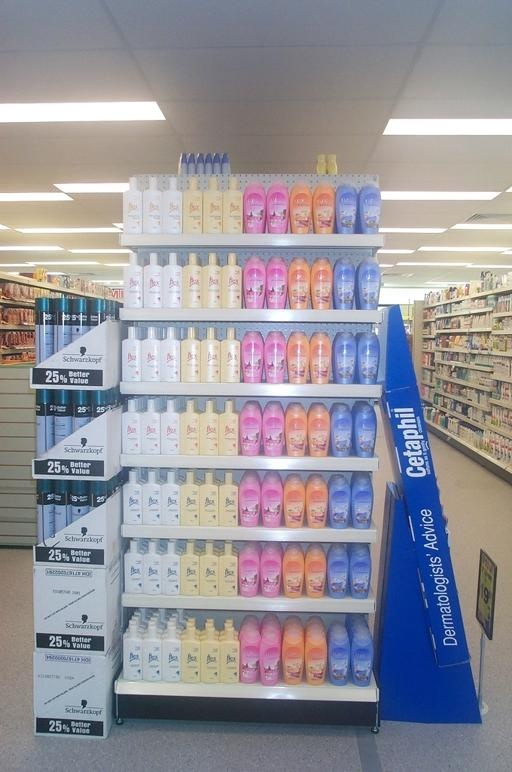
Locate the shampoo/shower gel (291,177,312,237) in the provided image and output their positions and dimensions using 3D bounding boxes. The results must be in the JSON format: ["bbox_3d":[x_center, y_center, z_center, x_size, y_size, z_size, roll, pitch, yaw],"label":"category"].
[{"bbox_3d":[0.197,-0.768,3.071,0.121,0.274,0.078,0,-7,9],"label":"shampoo/shower gel"}]

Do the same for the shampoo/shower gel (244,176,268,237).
[{"bbox_3d":[-0.004,-0.770,3.045,0.108,0.219,0.103,0,7,-10],"label":"shampoo/shower gel"}]

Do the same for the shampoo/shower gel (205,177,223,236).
[{"bbox_3d":[-0.184,-0.781,3.031,0.075,0.244,0.092,-4,9,-37],"label":"shampoo/shower gel"}]

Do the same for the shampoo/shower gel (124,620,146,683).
[{"bbox_3d":[-0.533,1.153,3.050,0.094,0.247,0.065,1,5,-7],"label":"shampoo/shower gel"}]

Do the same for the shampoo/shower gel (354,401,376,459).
[{"bbox_3d":[0.466,0.191,3.022,0.076,0.157,0.208,-1,13,3],"label":"shampoo/shower gel"}]

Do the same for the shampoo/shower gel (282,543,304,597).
[{"bbox_3d":[0.160,0.807,3.066,0.099,0.210,0.124,1,7,3],"label":"shampoo/shower gel"}]

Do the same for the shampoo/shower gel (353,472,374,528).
[{"bbox_3d":[0.460,0.499,3.067,0.095,0.233,0.141,2,7,7],"label":"shampoo/shower gel"}]

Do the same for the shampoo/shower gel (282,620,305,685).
[{"bbox_3d":[0.158,1.156,3.011,0.086,0.264,0.189,1,-8,1],"label":"shampoo/shower gel"}]

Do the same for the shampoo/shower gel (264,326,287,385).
[{"bbox_3d":[0.083,-0.127,3.048,0.098,0.221,0.148,1,7,2],"label":"shampoo/shower gel"}]

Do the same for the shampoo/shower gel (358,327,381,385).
[{"bbox_3d":[0.482,-0.114,3.030,0.086,0.260,0.064,2,-18,6],"label":"shampoo/shower gel"}]

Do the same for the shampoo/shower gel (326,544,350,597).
[{"bbox_3d":[0.358,0.800,3.074,0.095,0.218,0.138,2,7,8],"label":"shampoo/shower gel"}]

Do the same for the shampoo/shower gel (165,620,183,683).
[{"bbox_3d":[-0.368,1.144,3.056,0.076,0.248,0.121,0,7,-9],"label":"shampoo/shower gel"}]

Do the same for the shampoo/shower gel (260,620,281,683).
[{"bbox_3d":[0.054,1.167,3.035,0.110,0.261,0.104,2,16,-8],"label":"shampoo/shower gel"}]

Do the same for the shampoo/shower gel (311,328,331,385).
[{"bbox_3d":[0.278,-0.124,3.043,0.089,0.219,0.069,1,7,2],"label":"shampoo/shower gel"}]

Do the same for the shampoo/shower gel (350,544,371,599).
[{"bbox_3d":[0.444,0.798,3.013,0.098,0.274,0.199,2,-5,5],"label":"shampoo/shower gel"}]

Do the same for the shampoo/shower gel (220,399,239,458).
[{"bbox_3d":[-0.126,0.178,3.076,0.095,0.255,0.090,-2,15,-8],"label":"shampoo/shower gel"}]

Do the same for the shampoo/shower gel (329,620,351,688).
[{"bbox_3d":[0.358,1.161,3.011,0.096,0.216,0.061,0,-1,-1],"label":"shampoo/shower gel"}]

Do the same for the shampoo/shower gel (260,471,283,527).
[{"bbox_3d":[0.069,0.498,3.058,0.096,0.222,0.099,1,7,1],"label":"shampoo/shower gel"}]

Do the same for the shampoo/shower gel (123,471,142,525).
[{"bbox_3d":[-0.541,0.485,3.119,0.106,0.250,0.096,-3,11,-15],"label":"shampoo/shower gel"}]

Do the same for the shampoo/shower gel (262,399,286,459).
[{"bbox_3d":[0.079,0.181,3.079,0.117,0.261,0.115,7,25,20],"label":"shampoo/shower gel"}]

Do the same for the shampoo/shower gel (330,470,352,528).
[{"bbox_3d":[0.361,0.504,3.055,0.102,0.215,0.106,2,7,8],"label":"shampoo/shower gel"}]

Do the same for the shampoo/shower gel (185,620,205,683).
[{"bbox_3d":[-0.283,1.145,3.051,0.079,0.247,0.119,0,7,-5],"label":"shampoo/shower gel"}]

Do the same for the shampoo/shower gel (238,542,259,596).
[{"bbox_3d":[-0.034,0.807,3.064,0.094,0.213,0.107,1,7,0],"label":"shampoo/shower gel"}]

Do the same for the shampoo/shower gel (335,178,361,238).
[{"bbox_3d":[0.393,-0.765,3.042,0.103,0.214,0.140,2,7,7],"label":"shampoo/shower gel"}]

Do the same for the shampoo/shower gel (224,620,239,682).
[{"bbox_3d":[-0.111,1.150,3.040,0.079,0.247,0.095,1,7,0],"label":"shampoo/shower gel"}]

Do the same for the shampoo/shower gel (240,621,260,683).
[{"bbox_3d":[-0.034,1.166,3.047,0.109,0.257,0.100,5,14,0],"label":"shampoo/shower gel"}]

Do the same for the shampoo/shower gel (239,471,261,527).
[{"bbox_3d":[-0.030,0.498,3.068,0.101,0.220,0.099,1,7,-1],"label":"shampoo/shower gel"}]

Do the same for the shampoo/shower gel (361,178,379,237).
[{"bbox_3d":[0.484,-0.762,3.018,0.084,0.215,0.113,2,7,7],"label":"shampoo/shower gel"}]

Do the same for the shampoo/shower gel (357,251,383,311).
[{"bbox_3d":[0.505,-0.436,3.051,0.108,0.241,0.107,-1,-8,27],"label":"shampoo/shower gel"}]

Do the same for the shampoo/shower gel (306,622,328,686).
[{"bbox_3d":[0.261,1.138,3.028,0.107,0.065,0.234,-10,18,11],"label":"shampoo/shower gel"}]

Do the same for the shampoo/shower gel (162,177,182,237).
[{"bbox_3d":[-0.366,-0.787,3.063,0.089,0.253,0.144,1,7,4],"label":"shampoo/shower gel"}]

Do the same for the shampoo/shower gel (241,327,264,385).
[{"bbox_3d":[-0.014,-0.109,3.076,0.114,0.256,0.098,-2,-21,6],"label":"shampoo/shower gel"}]

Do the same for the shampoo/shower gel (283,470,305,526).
[{"bbox_3d":[0.165,0.503,3.075,0.096,0.210,0.138,1,7,3],"label":"shampoo/shower gel"}]

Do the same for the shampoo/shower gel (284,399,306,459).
[{"bbox_3d":[0.176,0.180,3.062,0.106,0.256,0.100,1,27,7],"label":"shampoo/shower gel"}]

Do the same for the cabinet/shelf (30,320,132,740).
[{"bbox_3d":[-0.779,0.600,3.023,0.394,1.762,0.401,0,7,-10],"label":"cabinet/shelf"}]

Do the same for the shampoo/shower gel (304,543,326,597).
[{"bbox_3d":[0.265,0.807,3.067,0.120,0.212,0.111,-1,7,-12],"label":"shampoo/shower gel"}]

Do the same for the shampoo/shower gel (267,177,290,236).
[{"bbox_3d":[0.088,-0.775,3.042,0.094,0.216,0.060,1,7,0],"label":"shampoo/shower gel"}]

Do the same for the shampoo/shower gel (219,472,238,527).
[{"bbox_3d":[-0.129,0.495,3.079,0.092,0.241,0.080,-2,7,-7],"label":"shampoo/shower gel"}]

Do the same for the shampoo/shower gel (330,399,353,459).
[{"bbox_3d":[0.366,0.194,3.030,0.111,0.312,0.230,2,1,3],"label":"shampoo/shower gel"}]

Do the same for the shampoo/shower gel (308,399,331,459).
[{"bbox_3d":[0.274,0.188,3.089,0.099,0.230,0.179,2,7,5],"label":"shampoo/shower gel"}]

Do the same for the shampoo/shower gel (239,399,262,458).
[{"bbox_3d":[-0.024,0.178,3.083,0.116,0.262,0.107,4,24,11],"label":"shampoo/shower gel"}]

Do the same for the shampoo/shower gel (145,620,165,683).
[{"bbox_3d":[-0.452,1.144,3.048,0.083,0.252,0.097,0,7,-11],"label":"shampoo/shower gel"}]

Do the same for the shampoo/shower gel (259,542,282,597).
[{"bbox_3d":[0.070,0.844,3.063,0.109,0.100,0.244,0,37,4],"label":"shampoo/shower gel"}]

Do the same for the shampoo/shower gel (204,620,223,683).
[{"bbox_3d":[-0.198,1.144,3.047,0.085,0.260,0.104,0,7,-4],"label":"shampoo/shower gel"}]

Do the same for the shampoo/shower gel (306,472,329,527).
[{"bbox_3d":[0.261,0.506,3.061,0.098,0.211,0.109,2,7,6],"label":"shampoo/shower gel"}]

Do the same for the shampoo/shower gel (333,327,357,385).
[{"bbox_3d":[0.386,-0.091,3.074,0.123,0.271,0.114,-1,-31,9],"label":"shampoo/shower gel"}]

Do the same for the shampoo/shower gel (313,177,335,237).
[{"bbox_3d":[0.295,-0.765,3.085,0.105,0.341,0.071,0,45,4],"label":"shampoo/shower gel"}]

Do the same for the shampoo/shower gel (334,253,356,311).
[{"bbox_3d":[0.380,-0.447,3.057,0.091,0.212,0.077,1,7,3],"label":"shampoo/shower gel"}]

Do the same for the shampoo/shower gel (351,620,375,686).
[{"bbox_3d":[0.456,1.157,3.053,0.098,0.236,0.160,2,7,8],"label":"shampoo/shower gel"}]
